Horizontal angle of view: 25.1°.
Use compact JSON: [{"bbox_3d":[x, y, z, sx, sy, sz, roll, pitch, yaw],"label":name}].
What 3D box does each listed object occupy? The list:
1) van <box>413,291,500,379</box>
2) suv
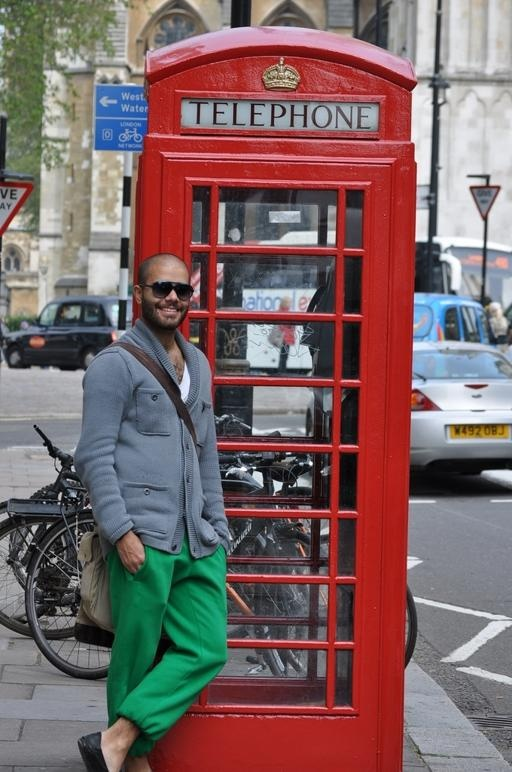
[{"bbox_3d":[2.950,-0.704,16.807,1.202,1.273,2.232,0,8,14],"label":"van"},{"bbox_3d":[-4.435,-1.300,28.942,4.719,2.341,2.309,3,2,29],"label":"suv"}]
